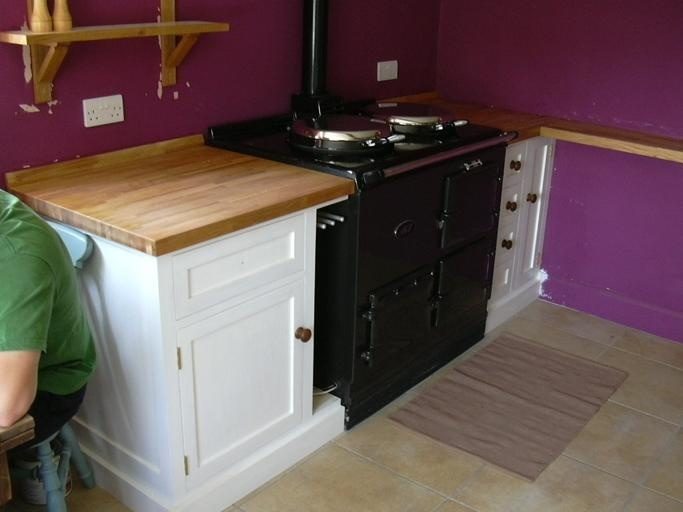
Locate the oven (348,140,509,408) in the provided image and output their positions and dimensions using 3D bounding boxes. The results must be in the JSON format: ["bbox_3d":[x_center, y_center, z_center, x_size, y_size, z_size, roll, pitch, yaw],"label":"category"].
[{"bbox_3d":[0.235,0.006,2.650,0.952,1.115,0.607,-19,27,-37],"label":"oven"}]

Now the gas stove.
[{"bbox_3d":[0.099,-0.565,2.495,1.146,0.181,0.839,-24,35,-39],"label":"gas stove"}]

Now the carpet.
[{"bbox_3d":[0.735,0.680,2.422,0.466,0.027,0.730,17,31,33],"label":"carpet"}]
